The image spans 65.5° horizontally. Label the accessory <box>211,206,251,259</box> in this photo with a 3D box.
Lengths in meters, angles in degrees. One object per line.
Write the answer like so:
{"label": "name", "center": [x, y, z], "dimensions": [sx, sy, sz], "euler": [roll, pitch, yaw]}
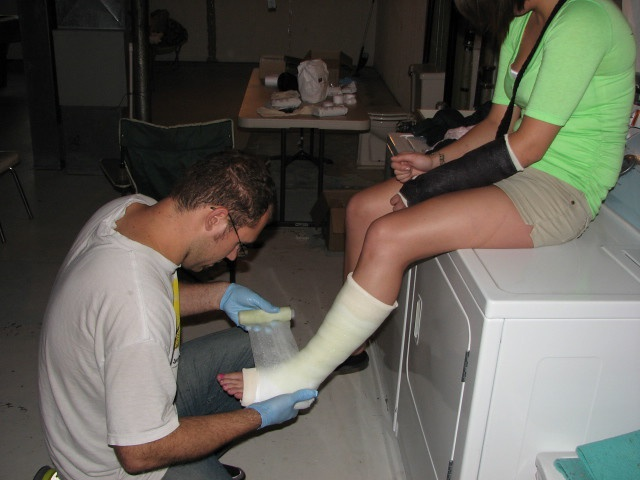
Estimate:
{"label": "accessory", "center": [-0.268, -0.029, 1.462], "dimensions": [0.041, 0.138, 0.116], "euler": [-12, 4, -27]}

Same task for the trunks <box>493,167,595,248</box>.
{"label": "trunks", "center": [0.749, -0.091, 1.568], "dimensions": [0.183, 0.238, 0.086], "euler": [-18, 43, -6]}

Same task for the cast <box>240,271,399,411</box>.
{"label": "cast", "center": [0.012, 0.433, 2.006], "dimensions": [0.675, 0.310, 0.206], "euler": [-42, 35, -1]}
